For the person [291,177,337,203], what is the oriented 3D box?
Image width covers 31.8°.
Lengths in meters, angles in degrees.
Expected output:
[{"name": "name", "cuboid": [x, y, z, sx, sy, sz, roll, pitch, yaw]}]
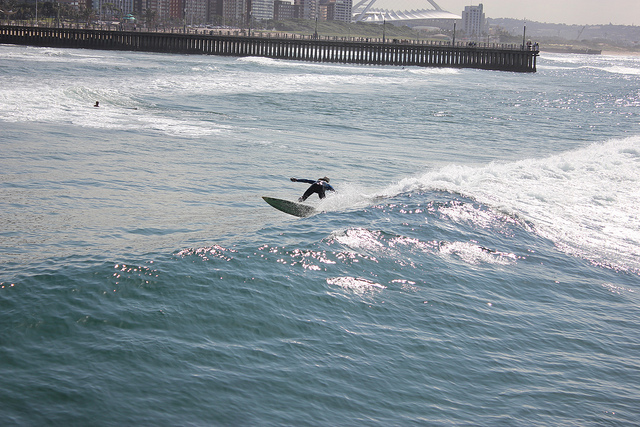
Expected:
[{"name": "person", "cuboid": [-0.142, -1.200, 56.610, 1.843, 0.312, 1.767, 14, 22, 22]}]
